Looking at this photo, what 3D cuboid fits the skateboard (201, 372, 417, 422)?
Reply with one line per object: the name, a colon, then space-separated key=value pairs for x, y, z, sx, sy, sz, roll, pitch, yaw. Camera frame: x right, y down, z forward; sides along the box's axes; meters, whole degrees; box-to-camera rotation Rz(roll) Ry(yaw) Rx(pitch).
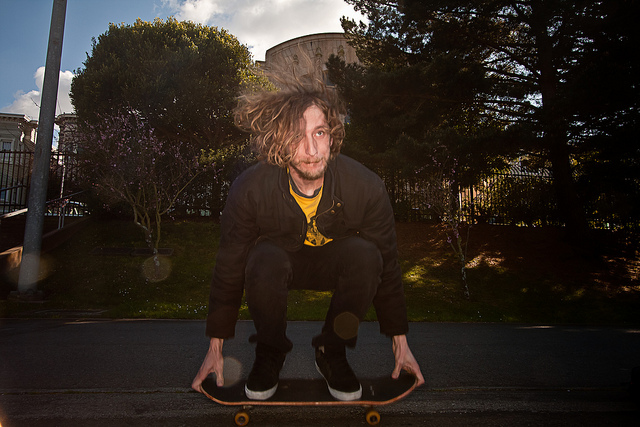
skateboard: x=-0.135 y=1.997 z=4.573 sx=1.798 sy=0.332 sz=0.473 roll=1 pitch=0 yaw=-3
